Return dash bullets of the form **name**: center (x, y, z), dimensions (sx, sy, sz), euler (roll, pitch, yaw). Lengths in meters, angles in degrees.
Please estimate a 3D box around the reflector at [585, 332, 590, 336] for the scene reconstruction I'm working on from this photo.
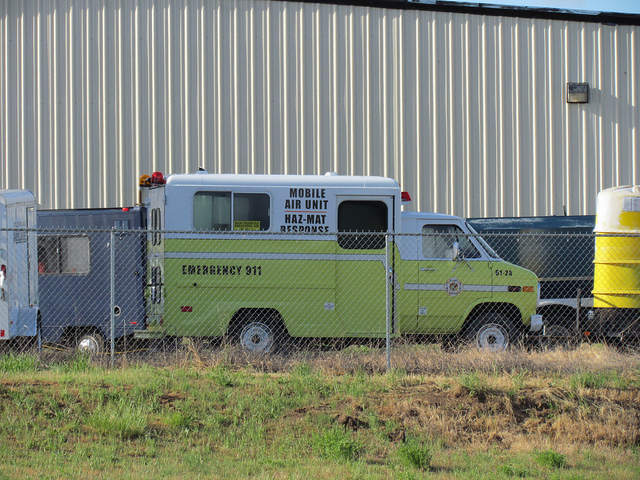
- **reflector**: center (6.588, 2.344, 39.828), dimensions (0.069, 0.084, 0.029), euler (15, -7, 9)

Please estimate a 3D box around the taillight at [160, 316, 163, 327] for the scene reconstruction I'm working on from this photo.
- **taillight**: center (-3.932, 2.014, 39.198), dimensions (0.098, 0.229, 0.019), euler (-1, -2, 38)

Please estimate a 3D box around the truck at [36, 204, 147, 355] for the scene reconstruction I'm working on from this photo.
- **truck**: center (-6.015, 1.058, 40.419), dimensions (2.479, 4.414, 2.228), euler (0, 3, -32)

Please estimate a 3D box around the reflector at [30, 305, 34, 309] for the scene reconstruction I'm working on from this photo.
- **reflector**: center (-7.110, 1.650, 39.244), dimensions (0.061, 0.079, 0.017), euler (3, -2, 7)
